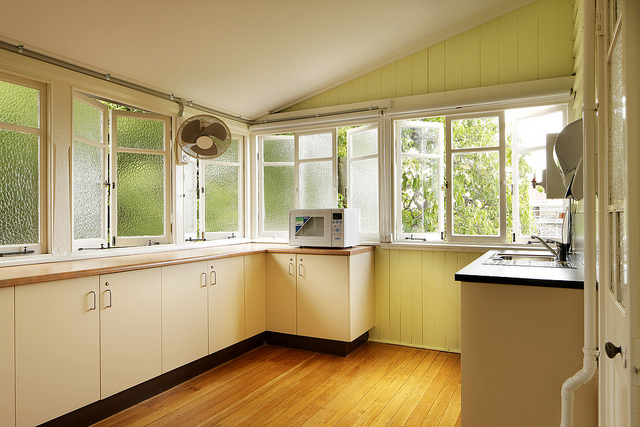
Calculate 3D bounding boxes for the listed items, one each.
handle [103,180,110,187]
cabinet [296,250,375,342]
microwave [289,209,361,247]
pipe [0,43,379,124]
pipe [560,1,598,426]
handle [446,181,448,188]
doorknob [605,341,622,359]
[{"bbox_3d":[-2.072,-0.286,4.108,0.045,0.046,0.045,0,0,-43],"label":"handle"},{"bbox_3d":[0.233,0.876,4.729,0.849,1.203,0.848,-3,-6,32],"label":"cabinet"},{"bbox_3d":[-0.159,0.151,4.762,0.716,0.402,0.513,-1,0,-27],"label":"microwave"},{"bbox_3d":[-1.282,-1.228,4.607,3.342,0.332,1.203,-3,2,-28],"label":"pipe"},{"bbox_3d":[1.377,0.052,2.260,0.169,2.227,0.395,-1,3,34],"label":"pipe"},{"bbox_3d":[1.360,-0.307,4.552,0.007,0.068,0.025,-3,2,-27],"label":"handle"},{"bbox_3d":[1.290,0.605,1.876,0.071,0.054,0.053,10,-12,-19],"label":"doorknob"}]
